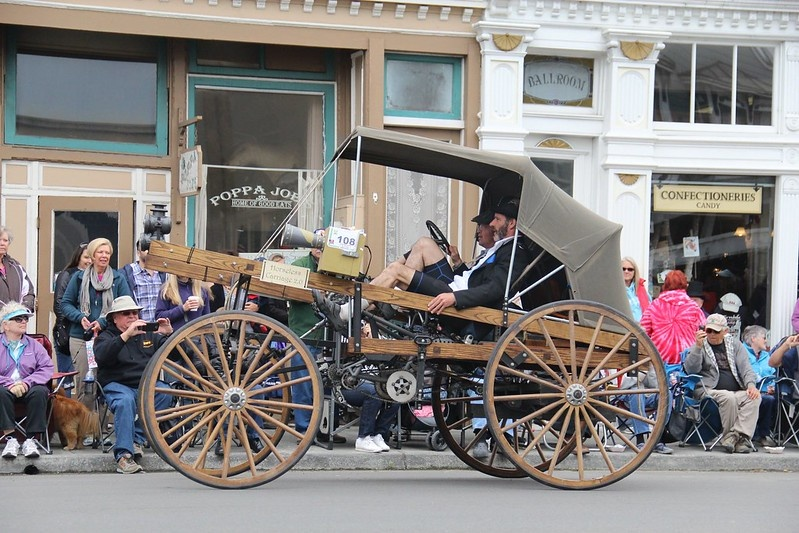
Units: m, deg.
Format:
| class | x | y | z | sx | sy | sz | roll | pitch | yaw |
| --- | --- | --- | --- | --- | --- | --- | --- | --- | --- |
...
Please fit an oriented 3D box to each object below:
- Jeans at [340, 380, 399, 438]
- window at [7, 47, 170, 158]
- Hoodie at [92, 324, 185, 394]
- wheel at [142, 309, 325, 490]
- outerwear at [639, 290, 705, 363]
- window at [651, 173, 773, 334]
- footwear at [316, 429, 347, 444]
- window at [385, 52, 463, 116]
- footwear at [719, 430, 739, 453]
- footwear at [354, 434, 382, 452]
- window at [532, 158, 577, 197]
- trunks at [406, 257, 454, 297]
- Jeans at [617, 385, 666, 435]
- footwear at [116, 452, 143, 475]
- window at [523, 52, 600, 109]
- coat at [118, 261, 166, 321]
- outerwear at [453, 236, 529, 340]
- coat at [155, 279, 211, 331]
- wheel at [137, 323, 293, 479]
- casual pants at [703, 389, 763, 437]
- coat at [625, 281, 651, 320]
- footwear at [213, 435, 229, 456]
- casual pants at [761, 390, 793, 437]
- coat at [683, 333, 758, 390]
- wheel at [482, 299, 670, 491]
| class | x | y | z | sx | sy | sz | roll | pitch | yaw |
| --- | --- | --- | --- | --- | --- | --- | --- | --- | --- |
| Jeans | -0.294 | 2.003 | 25.772 | 0.838 | 0.900 | 0.823 | 8 | -12 | -41 |
| window | -5.037 | -2.555 | 29.021 | 2.003 | 1.115 | 0.079 | 1 | -3 | -10 |
| Hoodie | -3.604 | 1.235 | 24.999 | 0.959 | 0.919 | 1.035 | 8 | -12 | -39 |
| wheel | -2.265 | 1.699 | 23.959 | 2.371 | 2.078 | 0.739 | -1 | -4 | -24 |
| outerwear | 3.958 | 0.905 | 26.582 | 1.006 | 0.856 | 0.540 | 5 | -17 | -1 |
| window | 4.972 | -0.189 | 29.649 | 2.929 | 3.206 | 0.192 | 1 | 1 | -3 |
| footwear | -0.948 | 2.404 | 26.225 | 0.460 | 0.286 | 0.166 | -1 | 5 | -14 |
| window | 0.332 | -2.876 | 29.447 | 1.162 | 0.762 | 0.085 | 0 | 1 | -17 |
| footwear | 4.749 | 2.492 | 26.389 | 0.272 | 0.294 | 0.194 | 3 | -2 | 15 |
| footwear | -0.464 | 2.447 | 25.530 | 0.423 | 0.173 | 0.159 | 2 | -4 | 23 |
| window | 2.525 | -1.536 | 29.935 | 0.716 | 0.060 | 0.652 | -3 | -44 | -2 |
| trunks | 0.437 | 0.183 | 24.373 | 0.529 | 0.176 | 0.517 | -27 | 8 | 12 |
| Jeans | 3.430 | 2.013 | 26.130 | 0.540 | 0.679 | 0.225 | 3 | 4 | 15 |
| footwear | -3.622 | 2.644 | 24.688 | 0.182 | 0.178 | 0.424 | 6 | -7 | -45 |
| window | 2.546 | -2.938 | 29.827 | 1.364 | 0.772 | 0.016 | 10 | 13 | 41 |
| coat | -3.610 | 0.377 | 25.762 | 0.327 | 0.817 | 0.732 | -20 | -24 | 41 |
| outerwear | 1.245 | 0.336 | 24.375 | 0.940 | 1.349 | 1.039 | 19 | -9 | 1 |
| coat | -3.019 | 0.542 | 25.441 | 0.632 | 0.597 | 0.363 | 8 | -25 | -24 |
| wheel | -2.280 | 1.713 | 23.998 | 2.501 | 2.217 | 0.698 | 2 | -2 | -33 |
| casual pants | 4.854 | 2.114 | 26.630 | 0.736 | 0.765 | 0.656 | 6 | -21 | -24 |
| coat | 3.525 | 0.435 | 27.676 | 0.358 | 0.457 | 0.269 | -10 | -5 | 20 |
| footwear | -2.479 | 2.462 | 25.201 | 0.188 | 0.334 | 0.528 | 1 | -8 | -7 |
| casual pants | 5.520 | 2.135 | 26.864 | 0.494 | 0.641 | 0.168 | 3 | -2 | -7 |
| coat | 4.691 | 1.391 | 26.774 | 0.947 | 0.830 | 0.918 | 1 | -16 | -1 |
| wheel | 2.260 | 1.723 | 24.463 | 1.908 | 1.879 | 0.205 | 41 | -13 | -1 |
